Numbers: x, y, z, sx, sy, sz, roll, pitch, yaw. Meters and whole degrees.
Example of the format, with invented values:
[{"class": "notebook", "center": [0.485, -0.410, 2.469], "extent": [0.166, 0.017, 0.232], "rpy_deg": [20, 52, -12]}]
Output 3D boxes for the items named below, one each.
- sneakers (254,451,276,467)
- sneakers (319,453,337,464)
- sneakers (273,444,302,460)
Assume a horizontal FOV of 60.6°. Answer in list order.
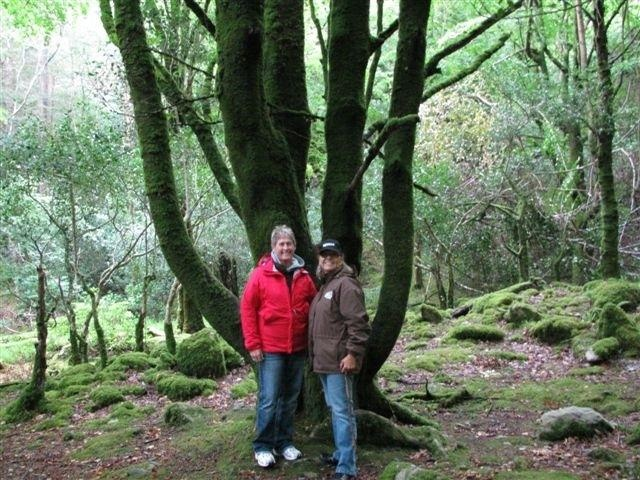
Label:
[{"class": "sneakers", "center": [-0.791, 3.115, 7.783], "extent": [0.305, 0.212, 0.227], "rpy_deg": [-5, 7, -7]}, {"class": "sneakers", "center": [0.117, 3.132, 7.825], "extent": [0.294, 0.143, 0.102], "rpy_deg": [12, -6, 46]}, {"class": "sneakers", "center": [-0.458, 3.067, 7.869], "extent": [0.367, 0.178, 0.178], "rpy_deg": [-13, -16, 32]}]
